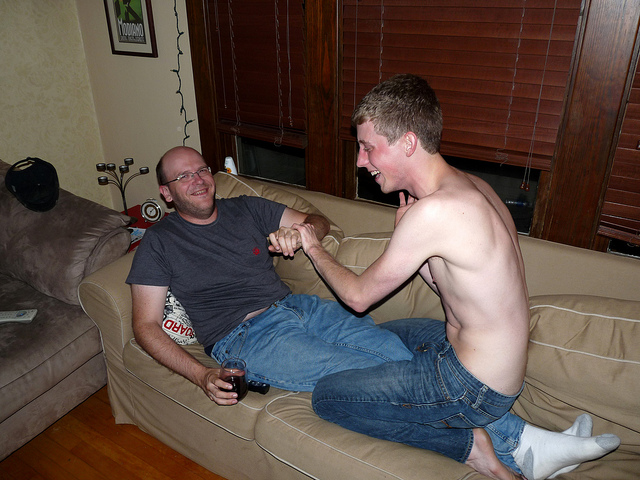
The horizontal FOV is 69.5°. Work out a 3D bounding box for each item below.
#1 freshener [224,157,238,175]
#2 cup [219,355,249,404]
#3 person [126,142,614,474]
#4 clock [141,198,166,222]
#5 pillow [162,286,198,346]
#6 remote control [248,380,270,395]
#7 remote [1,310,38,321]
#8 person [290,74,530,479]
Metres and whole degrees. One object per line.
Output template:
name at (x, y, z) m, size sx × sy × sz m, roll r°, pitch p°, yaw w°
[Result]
freshener at (-0.593, -0.462, 2.990) m, size 0.078 × 0.131 × 0.031 m, roll -20°, pitch 2°, yaw -14°
cup at (-0.379, 0.617, 2.007) m, size 0.138 × 0.203 × 0.144 m, roll -8°, pitch 12°, yaw 2°
person at (0.084, 0.437, 2.215) m, size 2.129 × 1.069 × 1.136 m, roll 22°, pitch 40°, yaw 26°
clock at (-1.142, -0.186, 3.119) m, size 0.131 × 0.176 × 0.188 m, roll -11°, pitch 30°, yaw -26°
pillow at (-0.700, 0.379, 2.275) m, size 0.072 × 0.253 × 0.214 m, roll -19°, pitch 24°, yaw 23°
remote control at (-0.279, 0.662, 2.077) m, size 0.082 × 0.031 × 0.047 m, roll 10°, pitch 41°, yaw 17°
remote at (-1.611, 0.402, 2.451) m, size 0.120 × 0.026 × 0.067 m, roll 0°, pitch 27°, yaw -2°
person at (0.445, 0.129, 1.810) m, size 0.940 × 1.369 × 0.575 m, roll 12°, pitch 28°, yaw 18°
